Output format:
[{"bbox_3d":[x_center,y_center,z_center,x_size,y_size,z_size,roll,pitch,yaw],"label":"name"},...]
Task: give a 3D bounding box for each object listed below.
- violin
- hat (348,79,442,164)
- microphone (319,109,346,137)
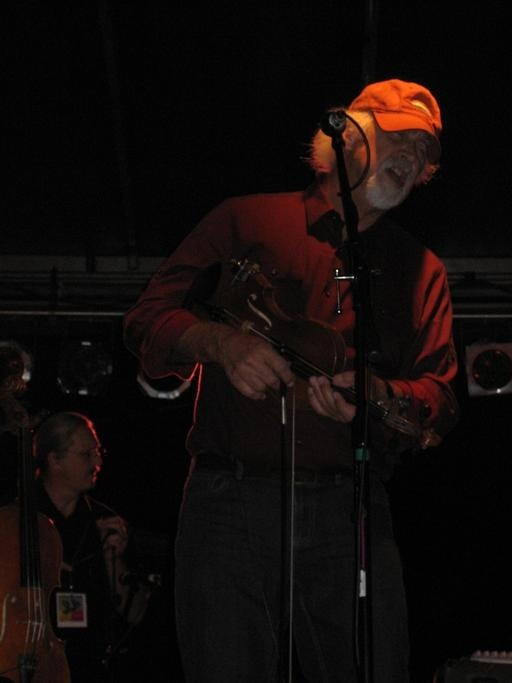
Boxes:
[{"bbox_3d":[0.146,0.055,2.961,0.665,0.277,0.107,42,22,16],"label":"violin"},{"bbox_3d":[0.502,-0.824,3.299,0.242,0.181,0.350,33,6,-40],"label":"hat"},{"bbox_3d":[0.221,-0.641,2.700,0.081,0.073,0.073,1,6,-2],"label":"microphone"}]
